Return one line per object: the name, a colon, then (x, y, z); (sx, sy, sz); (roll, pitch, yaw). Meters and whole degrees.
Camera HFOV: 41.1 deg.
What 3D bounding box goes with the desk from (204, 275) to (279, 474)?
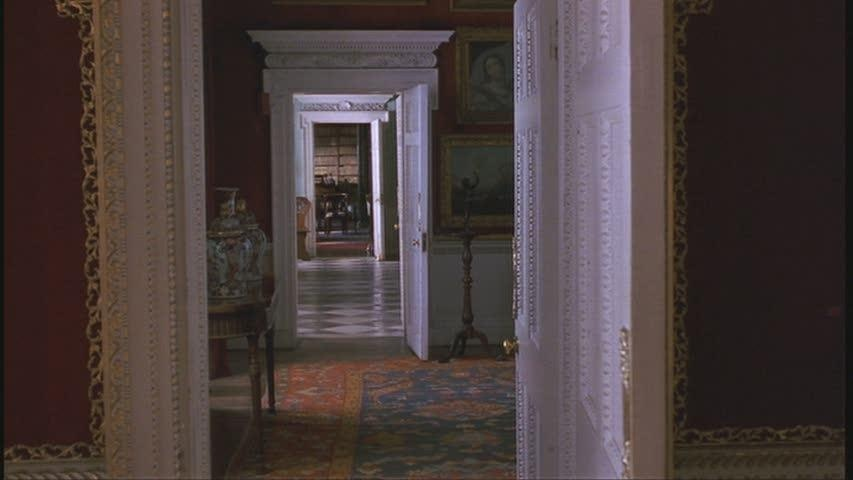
desk: (-1.257, 0.930, 7.711); (0.438, 0.758, 1.326); (-2, 4, -6)
